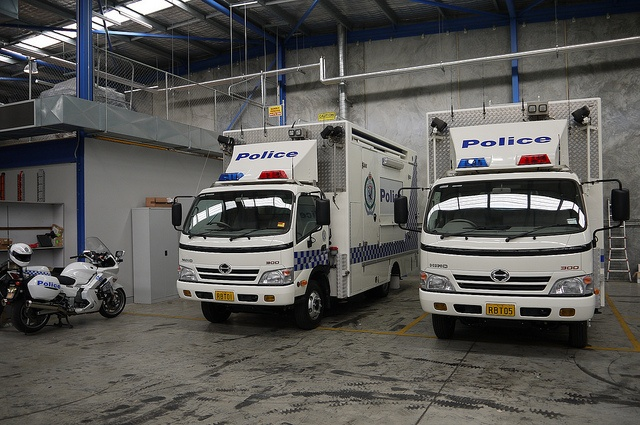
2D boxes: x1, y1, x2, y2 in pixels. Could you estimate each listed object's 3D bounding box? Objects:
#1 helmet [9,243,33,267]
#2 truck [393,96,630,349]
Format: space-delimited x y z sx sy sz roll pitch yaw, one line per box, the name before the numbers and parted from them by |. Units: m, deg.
helmet | -6.534 0.919 10.576 0.551 0.433 0.374 -4 -4 32
truck | 4.505 0.099 11.533 3.949 4.977 6.653 -1 -1 26
